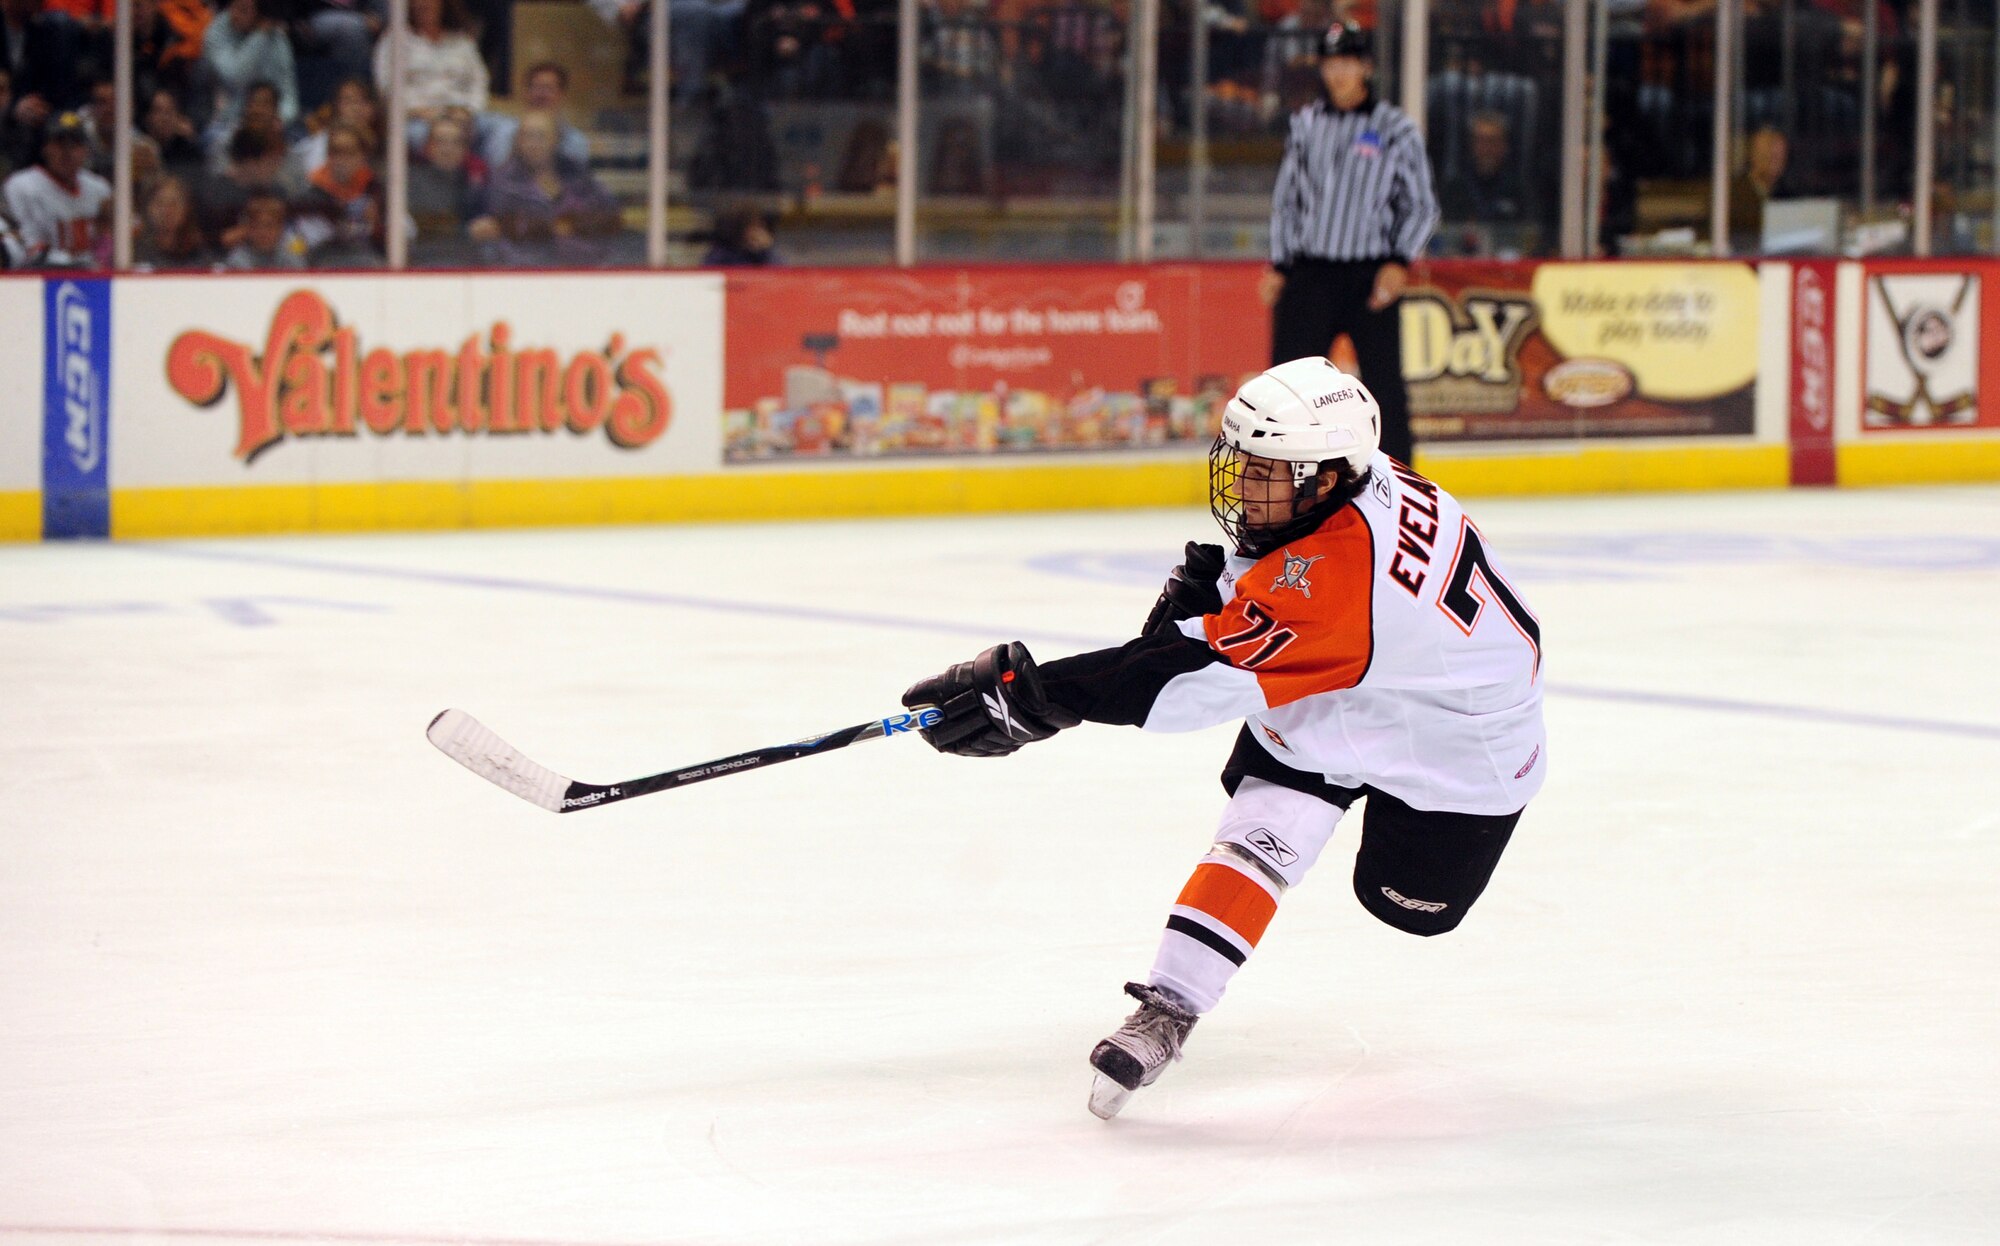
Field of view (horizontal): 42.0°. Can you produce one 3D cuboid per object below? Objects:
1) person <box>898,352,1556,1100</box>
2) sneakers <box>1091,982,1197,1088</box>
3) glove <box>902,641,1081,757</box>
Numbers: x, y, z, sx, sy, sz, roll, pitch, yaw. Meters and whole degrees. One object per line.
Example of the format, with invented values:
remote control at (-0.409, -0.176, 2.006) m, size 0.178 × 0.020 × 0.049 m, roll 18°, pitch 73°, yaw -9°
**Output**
person at (0.599, 0.225, 5.730) m, size 1.287 × 1.615 × 0.505 m, roll -1°, pitch 7°, yaw -25°
sneakers at (0.297, 0.882, 5.538) m, size 0.130 × 0.121 × 0.313 m, roll 37°, pitch 13°, yaw 10°
glove at (-0.028, 0.174, 5.607) m, size 0.327 × 0.218 × 0.144 m, roll -24°, pitch -10°, yaw 8°
